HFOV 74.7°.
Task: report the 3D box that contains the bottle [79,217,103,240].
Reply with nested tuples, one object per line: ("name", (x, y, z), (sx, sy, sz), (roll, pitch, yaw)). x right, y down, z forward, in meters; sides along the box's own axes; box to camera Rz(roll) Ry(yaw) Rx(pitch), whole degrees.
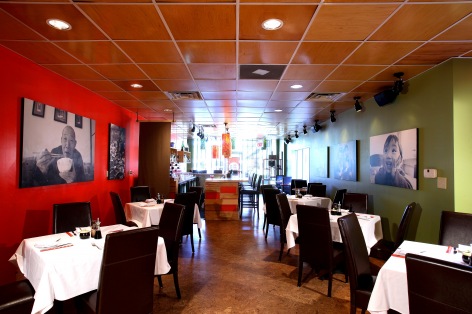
("bottle", (-2.312, 1.125, 4.896), (0.442, 0.422, 0.297), (3, -4, -12))

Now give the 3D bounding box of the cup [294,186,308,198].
("cup", (1.673, 0.942, 8.197), (0.312, 0.246, 0.339), (2, 1, 0))

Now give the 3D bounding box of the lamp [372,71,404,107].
("lamp", (3.394, -1.491, 6.735), (0.367, 0.552, 0.642), (-15, -14, -32))

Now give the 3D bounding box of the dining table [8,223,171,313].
("dining table", (-2.023, 1.519, 4.460), (1.577, 0.360, 1.418), (2, 1, -34))

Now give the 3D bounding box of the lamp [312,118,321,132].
("lamp", (2.799, -1.139, 10.748), (0.220, 0.397, 0.284), (7, -14, -11))

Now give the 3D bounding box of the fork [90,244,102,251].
("fork", (-2.029, 1.300, 4.478), (0.065, 0.052, 0.375), (-5, 4, -39))
